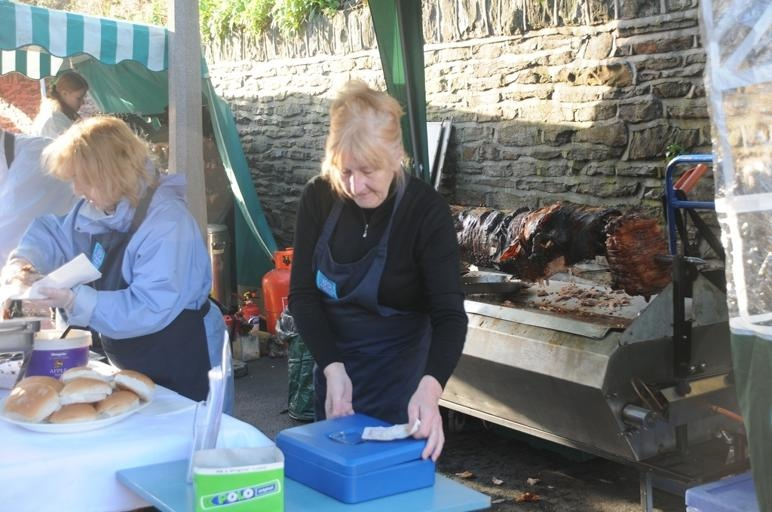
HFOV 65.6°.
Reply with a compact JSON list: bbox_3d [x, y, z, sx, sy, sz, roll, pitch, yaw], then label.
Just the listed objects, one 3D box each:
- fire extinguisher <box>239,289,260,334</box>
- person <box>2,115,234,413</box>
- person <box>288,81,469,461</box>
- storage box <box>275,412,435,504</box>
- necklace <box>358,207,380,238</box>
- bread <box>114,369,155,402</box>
[{"bbox_3d":[-1.825,0.740,7.949,0.258,0.515,0.229,-7,7,-26],"label":"fire extinguisher"},{"bbox_3d":[-1.443,0.049,3.231,0.994,1.596,0.793,-5,12,-7],"label":"person"},{"bbox_3d":[-0.083,0.025,2.907,0.961,1.705,0.836,2,13,25],"label":"person"},{"bbox_3d":[-0.090,0.798,2.350,0.320,0.134,0.400,-1,3,-35],"label":"storage box"},{"bbox_3d":[-0.100,-0.165,2.965,0.096,0.138,0.042,-1,-4,18],"label":"necklace"},{"bbox_3d":[-1.119,0.579,2.709,0.150,0.079,0.147,21,-7,25],"label":"bread"}]
